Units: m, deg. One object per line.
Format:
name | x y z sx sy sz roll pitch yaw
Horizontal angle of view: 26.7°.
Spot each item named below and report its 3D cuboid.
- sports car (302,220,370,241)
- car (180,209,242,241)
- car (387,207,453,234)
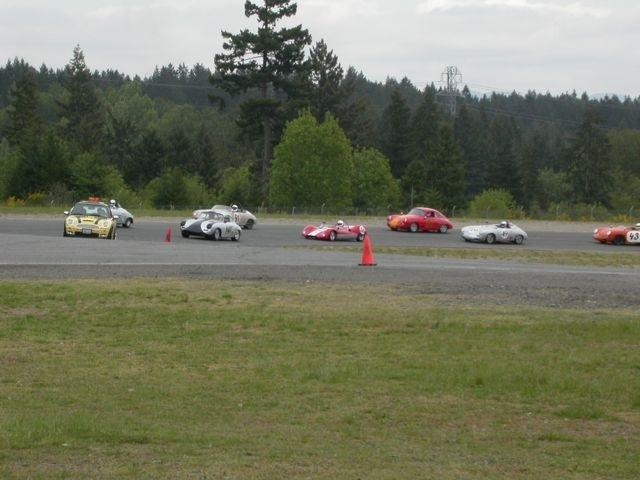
sports car | 1.045 -0.590 94.578 4.187 1.451 1.655 0 2 -1
car | -6.978 -1.156 92.483 1.973 1.315 3.360 4 -2 27
car | 7.629 -1.414 103.363 3.703 1.471 2.230 3 3 -16
